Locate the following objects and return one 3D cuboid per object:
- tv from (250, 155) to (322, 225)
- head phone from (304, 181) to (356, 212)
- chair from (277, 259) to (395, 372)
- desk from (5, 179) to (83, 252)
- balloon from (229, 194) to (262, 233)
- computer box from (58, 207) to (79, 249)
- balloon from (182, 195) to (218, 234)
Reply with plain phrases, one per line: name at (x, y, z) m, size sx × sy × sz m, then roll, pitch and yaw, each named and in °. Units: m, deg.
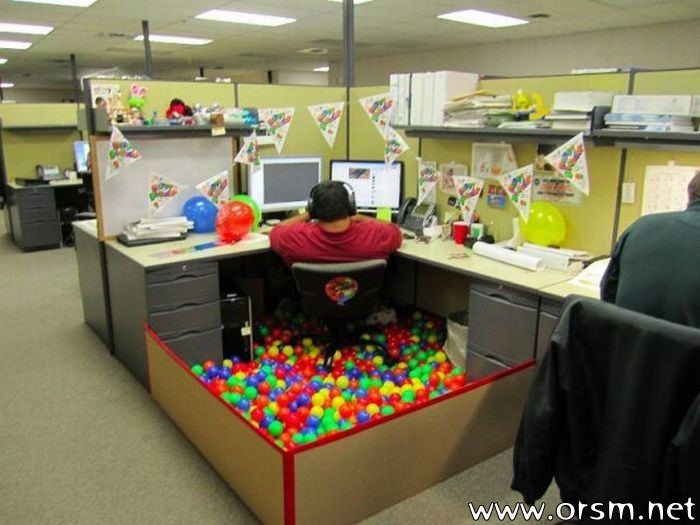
tv at (-0.462, -0.524, 3.441) m, size 0.528 × 0.404 × 0.042 m, roll -8°, pitch 17°, yaw -29°
head phone at (-0.105, -0.391, 2.900) m, size 0.255 × 0.132 × 0.321 m, roll -1°, pitch 11°, yaw -5°
chair at (-0.082, 0.191, 3.174) m, size 0.668 × 0.742 × 0.672 m, roll -2°, pitch 27°, yaw -5°
desk at (-3.874, -0.574, 6.350) m, size 0.973 × 0.870 × 0.967 m, roll -7°, pitch 12°, yaw -32°
balloon at (-0.676, -0.326, 3.393) m, size 0.217 × 0.257 × 0.177 m, roll 0°, pitch 16°, yaw 39°
computer box at (-3.708, -0.512, 6.298) m, size 0.264 × 0.417 × 0.276 m, roll 16°, pitch 18°, yaw 43°
balloon at (-0.995, -0.348, 3.347) m, size 0.246 × 0.309 × 0.262 m, roll 5°, pitch 10°, yaw 26°
